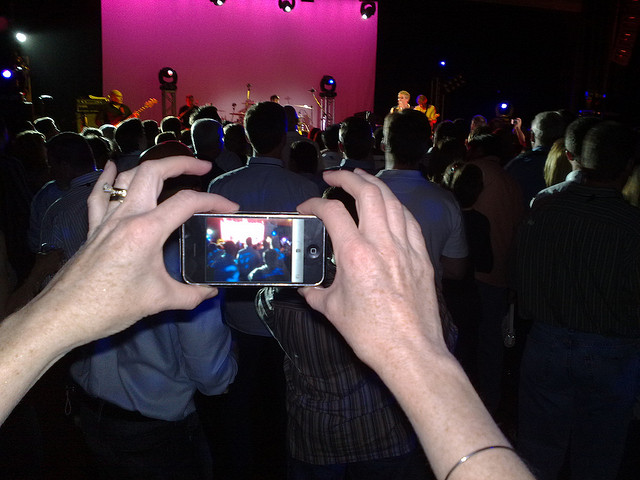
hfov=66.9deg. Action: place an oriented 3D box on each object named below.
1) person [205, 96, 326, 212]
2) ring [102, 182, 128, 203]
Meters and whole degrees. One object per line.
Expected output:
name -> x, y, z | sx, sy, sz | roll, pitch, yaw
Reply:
person -> -0.378, -0.579, 3.637 | 0.740, 0.732, 0.386 | 0, 6, 13
ring -> -0.681, -0.158, 1.616 | 0.087, 0.062, 0.024 | 26, 8, 24
